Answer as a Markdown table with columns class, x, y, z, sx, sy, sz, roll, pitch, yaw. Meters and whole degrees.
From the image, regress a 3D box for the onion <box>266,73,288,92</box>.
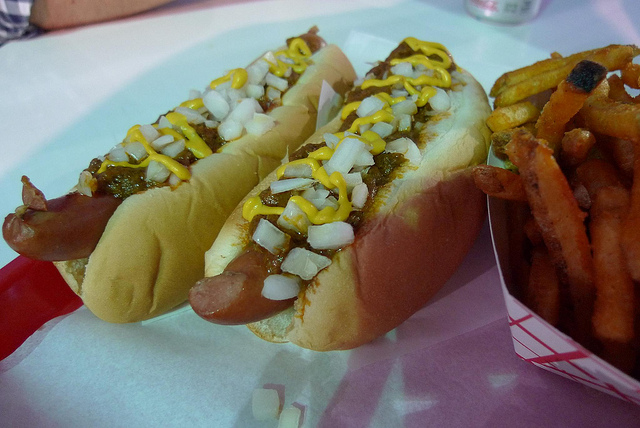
| class | x | y | z | sx | sy | sz | roll | pitch | yaw |
| --- | --- | --- | --- | --- | --- | --- | --- | --- | --- |
| onion | -0.322 | -0.970 | 4.103 | 0.179 | 0.057 | 0.083 | 27 | 79 | -8 |

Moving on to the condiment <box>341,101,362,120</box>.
| class | x | y | z | sx | sy | sz | roll | pitch | yaw |
| --- | --- | --- | --- | --- | --- | --- | --- | --- | --- |
| condiment | 0.193 | -0.659 | 3.457 | 0.120 | 0.097 | 0.037 | -43 | 107 | 8 |

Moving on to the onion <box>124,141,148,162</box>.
| class | x | y | z | sx | sy | sz | roll | pitch | yaw |
| --- | --- | --- | --- | --- | --- | --- | --- | --- | --- |
| onion | -1.135 | -0.392 | 3.398 | 0.128 | 0.059 | 0.124 | -41 | 93 | -15 |

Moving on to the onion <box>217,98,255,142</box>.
| class | x | y | z | sx | sy | sz | roll | pitch | yaw |
| --- | --- | --- | --- | --- | --- | --- | --- | --- | --- |
| onion | -0.559 | -0.639 | 3.783 | 0.173 | 0.112 | 0.344 | 37 | 78 | 10 |

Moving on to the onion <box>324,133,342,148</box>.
| class | x | y | z | sx | sy | sz | roll | pitch | yaw |
| --- | --- | --- | --- | --- | --- | --- | --- | --- | --- |
| onion | 0.067 | -0.437 | 3.213 | 0.067 | 0.025 | 0.094 | -22 | 65 | -9 |

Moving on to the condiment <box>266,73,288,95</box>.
| class | x | y | z | sx | sy | sz | roll | pitch | yaw |
| --- | --- | --- | --- | --- | --- | --- | --- | --- | --- |
| condiment | -0.318 | -0.967 | 4.105 | 0.186 | 0.060 | 0.086 | 26 | 84 | -7 |

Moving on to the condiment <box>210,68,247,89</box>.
| class | x | y | z | sx | sy | sz | roll | pitch | yaw |
| --- | --- | --- | --- | --- | --- | --- | --- | --- | --- |
| condiment | -0.619 | -0.928 | 3.832 | 0.243 | 0.065 | 0.133 | -25 | 60 | -3 |

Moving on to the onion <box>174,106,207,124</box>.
| class | x | y | z | sx | sy | sz | roll | pitch | yaw |
| --- | --- | --- | --- | --- | --- | --- | --- | --- | --- |
| onion | -0.852 | -0.657 | 3.612 | 0.098 | 0.176 | 0.053 | 49 | 119 | 48 |

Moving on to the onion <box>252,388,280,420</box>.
| class | x | y | z | sx | sy | sz | roll | pitch | yaw |
| --- | --- | --- | --- | --- | --- | --- | --- | --- | --- |
| onion | -0.307 | 1.086 | 3.151 | 0.147 | 0.050 | 0.167 | -7 | 48 | 7 |

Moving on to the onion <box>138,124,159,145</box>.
| class | x | y | z | sx | sy | sz | roll | pitch | yaw |
| --- | --- | --- | --- | --- | --- | --- | --- | --- | --- |
| onion | -1.072 | -0.505 | 3.461 | 0.082 | 0.044 | 0.133 | -28 | 68 | -28 |

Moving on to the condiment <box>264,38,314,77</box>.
| class | x | y | z | sx | sy | sz | roll | pitch | yaw |
| --- | --- | --- | --- | --- | --- | --- | --- | --- | --- |
| condiment | -0.236 | -1.240 | 4.310 | 0.255 | 0.411 | 0.091 | 0 | 95 | 43 |

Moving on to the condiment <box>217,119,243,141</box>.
| class | x | y | z | sx | sy | sz | roll | pitch | yaw |
| --- | --- | --- | --- | --- | --- | --- | --- | --- | --- |
| condiment | -0.608 | -0.568 | 3.759 | 0.144 | 0.078 | 0.149 | 43 | 87 | -2 |

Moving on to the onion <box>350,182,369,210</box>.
| class | x | y | z | sx | sy | sz | roll | pitch | yaw |
| --- | --- | --- | --- | --- | --- | --- | --- | --- | --- |
| onion | 0.223 | -0.099 | 3.122 | 0.094 | 0.049 | 0.132 | 23 | 62 | 6 |

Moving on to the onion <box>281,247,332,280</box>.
| class | x | y | z | sx | sy | sz | roll | pitch | yaw |
| --- | --- | --- | --- | --- | --- | --- | --- | --- | --- |
| onion | -0.073 | 0.266 | 2.946 | 0.238 | 0.120 | 0.133 | 1 | 51 | 15 |

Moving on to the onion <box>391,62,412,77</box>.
| class | x | y | z | sx | sy | sz | roll | pitch | yaw |
| --- | --- | --- | --- | --- | --- | --- | --- | --- | --- |
| onion | 0.536 | -0.918 | 3.560 | 0.117 | 0.035 | 0.088 | -30 | 59 | 12 |

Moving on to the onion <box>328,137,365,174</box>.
| class | x | y | z | sx | sy | sz | roll | pitch | yaw |
| --- | --- | --- | --- | --- | --- | --- | --- | --- | --- |
| onion | 0.150 | -0.331 | 3.097 | 0.144 | 0.060 | 0.213 | 30 | 78 | 10 |

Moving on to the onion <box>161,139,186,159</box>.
| class | x | y | z | sx | sy | sz | roll | pitch | yaw |
| --- | --- | --- | --- | --- | --- | --- | --- | --- | --- |
| onion | -0.929 | -0.412 | 3.488 | 0.151 | 0.049 | 0.093 | -33 | 91 | -12 |

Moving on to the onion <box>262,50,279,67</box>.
| class | x | y | z | sx | sy | sz | roll | pitch | yaw |
| --- | --- | --- | --- | --- | --- | --- | --- | --- | --- |
| onion | -0.383 | -1.203 | 4.202 | 0.105 | 0.051 | 0.181 | -32 | 43 | 5 |

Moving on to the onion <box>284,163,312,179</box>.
| class | x | y | z | sx | sy | sz | roll | pitch | yaw |
| --- | --- | --- | --- | --- | --- | --- | --- | --- | --- |
| onion | -0.119 | -0.249 | 3.096 | 0.151 | 0.050 | 0.074 | -1 | 79 | 5 |

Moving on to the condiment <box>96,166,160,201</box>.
| class | x | y | z | sx | sy | sz | roll | pitch | yaw |
| --- | --- | --- | --- | --- | --- | --- | --- | --- | --- |
| condiment | -1.200 | -0.196 | 3.395 | 0.305 | 0.066 | 0.171 | -18 | 77 | -16 |

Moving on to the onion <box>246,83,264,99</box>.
| class | x | y | z | sx | sy | sz | roll | pitch | yaw |
| --- | --- | --- | --- | --- | --- | --- | --- | --- | --- |
| onion | -0.465 | -0.874 | 3.963 | 0.132 | 0.107 | 0.097 | -6 | 87 | 0 |
